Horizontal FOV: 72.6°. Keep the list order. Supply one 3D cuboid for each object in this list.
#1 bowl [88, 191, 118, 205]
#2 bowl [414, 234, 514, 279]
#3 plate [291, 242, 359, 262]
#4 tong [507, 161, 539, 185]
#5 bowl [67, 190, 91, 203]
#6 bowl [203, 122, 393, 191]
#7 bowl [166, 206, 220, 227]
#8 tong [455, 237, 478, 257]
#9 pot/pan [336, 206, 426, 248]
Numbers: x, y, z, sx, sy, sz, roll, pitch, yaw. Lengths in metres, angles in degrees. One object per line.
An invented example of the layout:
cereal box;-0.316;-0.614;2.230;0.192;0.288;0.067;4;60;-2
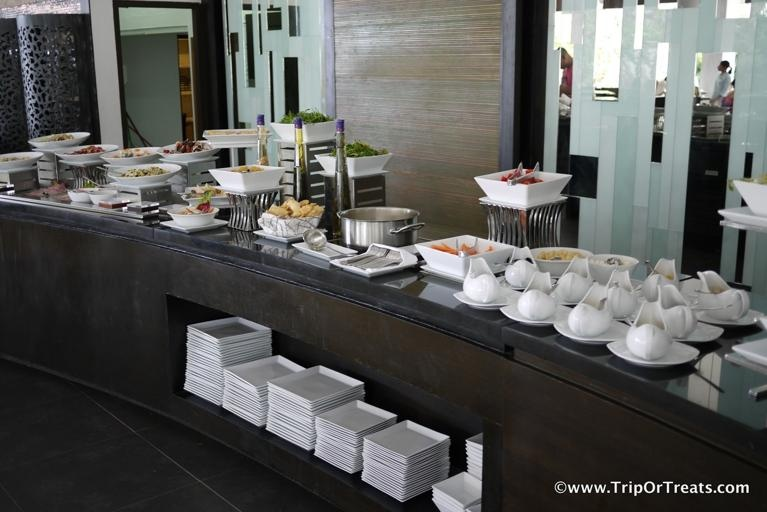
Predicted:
bowl;-1.668;-0.346;3.129;0.145;0.075;0.203;-13;19;-34
bowl;0.336;0.009;2.095;0.371;0.128;0.242;11;20;38
plate;-0.256;-0.022;2.346;0.184;0.024;0.120;16;22;41
tong;0.595;-0.355;2.242;0.088;0.082;0.210;11;18;36
bowl;-1.858;-0.361;3.179;0.101;0.039;0.098;2;11;0
bowl;-0.517;-0.576;2.993;1.073;0.327;0.664;8;13;42
bowl;-1.017;-0.204;2.777;0.277;0.093;0.174;1;16;9
tong;0.343;-0.032;2.128;0.077;0.041;0.094;0;24;9
pot/pan;-0.036;-0.135;2.426;0.312;0.160;0.383;-11;18;-31
